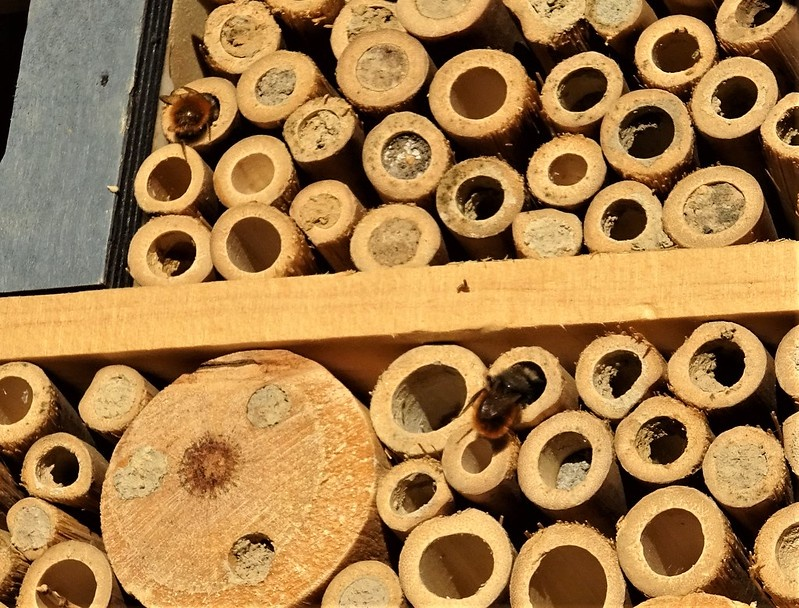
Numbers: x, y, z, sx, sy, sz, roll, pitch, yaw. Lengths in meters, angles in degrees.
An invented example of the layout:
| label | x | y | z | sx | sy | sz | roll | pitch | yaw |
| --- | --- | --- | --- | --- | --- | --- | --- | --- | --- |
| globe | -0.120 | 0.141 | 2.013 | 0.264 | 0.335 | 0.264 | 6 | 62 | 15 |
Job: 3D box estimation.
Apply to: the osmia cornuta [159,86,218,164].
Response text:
| label | x | y | z | sx | sy | sz | roll | pitch | yaw |
| --- | --- | --- | --- | --- | --- | --- | --- | --- | --- |
| osmia cornuta | -0.622 | -0.560 | 3.978 | 0.172 | 0.220 | 0.071 | -4 | -18 | 21 |

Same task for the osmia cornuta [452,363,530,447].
| label | x | y | z | sx | sy | sz | roll | pitch | yaw |
| --- | --- | --- | --- | --- | --- | --- | --- | --- | --- |
| osmia cornuta | 0.255 | 0.240 | 3.356 | 0.111 | 0.205 | 0.078 | 26 | -16 | 17 |
